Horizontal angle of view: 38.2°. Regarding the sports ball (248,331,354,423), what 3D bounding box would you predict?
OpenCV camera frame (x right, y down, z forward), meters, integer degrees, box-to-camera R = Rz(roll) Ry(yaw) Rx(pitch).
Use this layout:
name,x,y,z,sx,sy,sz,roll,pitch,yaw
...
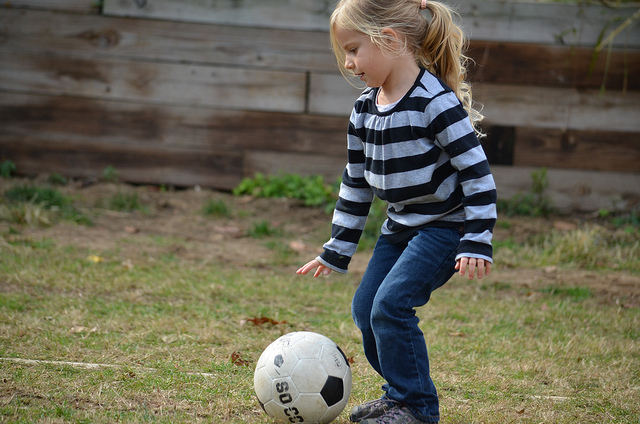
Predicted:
name,x,y,z,sx,sy,sz,roll,pitch,yaw
sports ball,-0.115,0.997,5.507,0.561,0.544,0.517,-2,-13,-1

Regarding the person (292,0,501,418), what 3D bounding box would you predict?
name,x,y,z,sx,sy,sz,roll,pitch,yaw
person,0.514,-0.013,5.670,1.172,2.552,0.661,10,9,19
